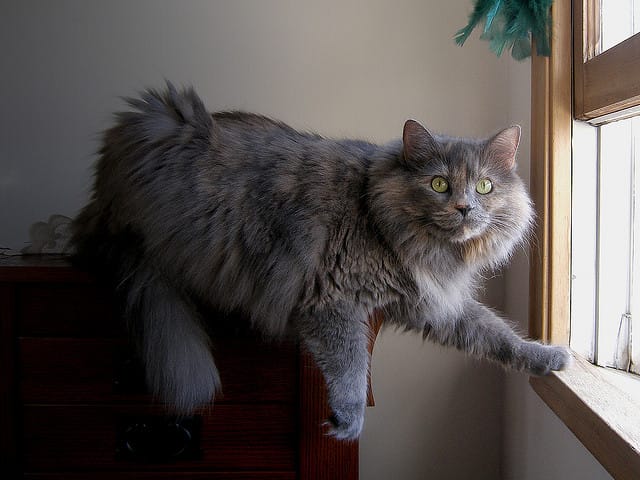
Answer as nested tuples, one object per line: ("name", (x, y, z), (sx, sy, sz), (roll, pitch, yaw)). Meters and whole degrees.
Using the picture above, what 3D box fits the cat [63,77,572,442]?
("cat", (-0.057, -0.011, 1.716), (1.101, 0.713, 0.901), (29, 38, 23))
